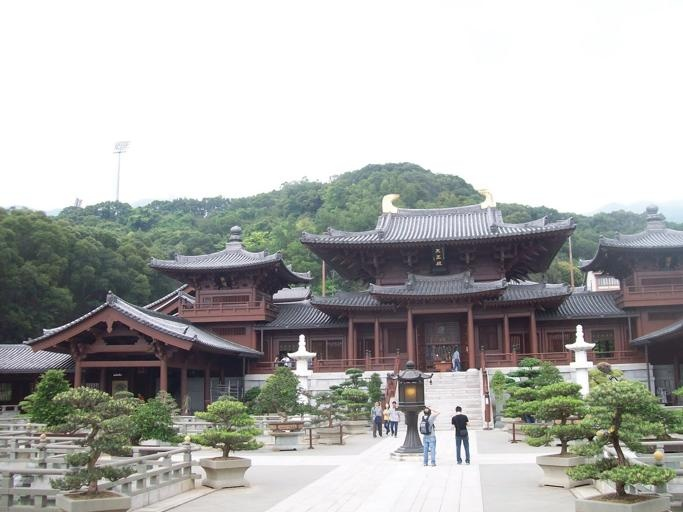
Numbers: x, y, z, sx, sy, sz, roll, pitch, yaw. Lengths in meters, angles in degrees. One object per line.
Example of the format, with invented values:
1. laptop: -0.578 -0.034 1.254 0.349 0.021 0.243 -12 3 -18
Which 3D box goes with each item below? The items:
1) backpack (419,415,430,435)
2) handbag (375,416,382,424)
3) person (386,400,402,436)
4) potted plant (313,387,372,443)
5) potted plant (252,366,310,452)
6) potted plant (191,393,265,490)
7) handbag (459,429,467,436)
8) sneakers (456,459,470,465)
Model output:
1. backpack: 2.552 5.222 22.332 0.309 0.616 0.483 -4 -14 2
2. handbag: 1.509 6.785 29.994 0.316 0.229 0.297 -2 -2 -16
3. person: 2.146 6.855 30.543 0.442 1.452 1.293 -4 -14 2
4. potted plant: 0.085 6.670 30.905 2.717 1.769 2.171 4 -21 -12
5. potted plant: -2.176 5.935 28.083 2.353 2.987 2.125 -10 -12 41
6. potted plant: -3.382 5.522 21.737 1.683 2.632 2.422 -1 -14 -11
7. handbag: 3.668 5.424 22.224 0.227 0.124 0.211 -1 -11 7
8. sneakers: 3.734 6.416 22.574 0.499 0.174 0.145 0 -11 1
